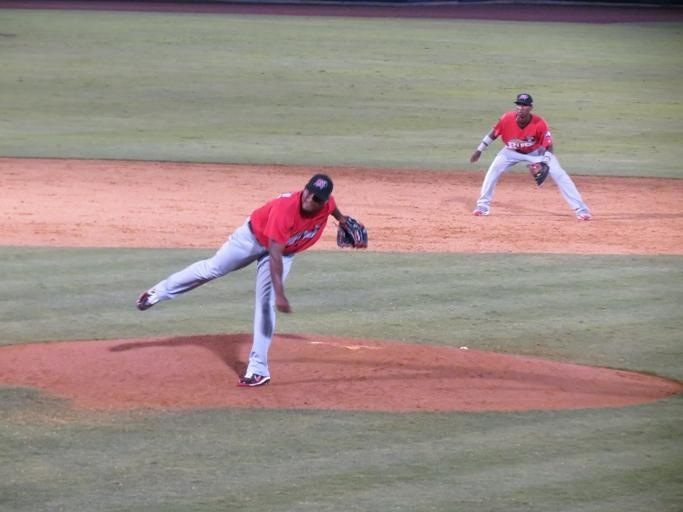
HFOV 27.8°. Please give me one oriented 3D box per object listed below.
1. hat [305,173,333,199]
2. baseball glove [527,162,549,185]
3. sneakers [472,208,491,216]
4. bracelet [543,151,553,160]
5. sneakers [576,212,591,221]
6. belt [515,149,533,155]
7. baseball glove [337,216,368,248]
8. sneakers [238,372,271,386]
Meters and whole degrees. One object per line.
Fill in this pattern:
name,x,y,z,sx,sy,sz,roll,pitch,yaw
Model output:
hat,-0.271,-0.775,15.738,0.310,0.282,0.262,-3,24,-16
baseball glove,3.165,-1.358,22.472,0.313,0.434,0.428,11,24,14
sneakers,2.276,-0.736,22.974,0.195,0.149,0.399,0,2,3
bracelet,3.308,-1.640,22.365,0.159,0.147,0.213,5,21,3
sneakers,3.930,-0.658,22.765,0.288,0.103,0.079,-7,52,-10
belt,2.922,-1.706,22.505,0.254,0.069,0.048,3,24,-1
baseball glove,0.098,-0.281,16.751,0.324,0.194,0.434,-6,21,0
sneakers,-1.054,1.442,16.112,0.414,0.122,0.125,1,13,-5
